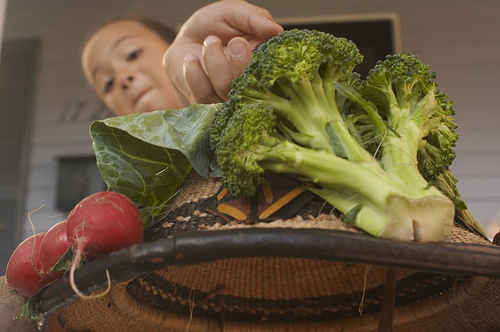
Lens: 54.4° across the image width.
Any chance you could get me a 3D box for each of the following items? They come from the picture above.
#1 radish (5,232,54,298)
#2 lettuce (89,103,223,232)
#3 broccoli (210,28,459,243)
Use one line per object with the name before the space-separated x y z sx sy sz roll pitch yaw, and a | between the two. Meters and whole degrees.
radish | -0.742 0.350 1.695 0.195 0.149 0.114 -32 -8 -7
lettuce | -0.327 -0.043 1.683 0.410 0.446 0.180 -1 15 -8
broccoli | 0.283 -0.122 1.647 0.835 0.677 0.362 1 8 14
